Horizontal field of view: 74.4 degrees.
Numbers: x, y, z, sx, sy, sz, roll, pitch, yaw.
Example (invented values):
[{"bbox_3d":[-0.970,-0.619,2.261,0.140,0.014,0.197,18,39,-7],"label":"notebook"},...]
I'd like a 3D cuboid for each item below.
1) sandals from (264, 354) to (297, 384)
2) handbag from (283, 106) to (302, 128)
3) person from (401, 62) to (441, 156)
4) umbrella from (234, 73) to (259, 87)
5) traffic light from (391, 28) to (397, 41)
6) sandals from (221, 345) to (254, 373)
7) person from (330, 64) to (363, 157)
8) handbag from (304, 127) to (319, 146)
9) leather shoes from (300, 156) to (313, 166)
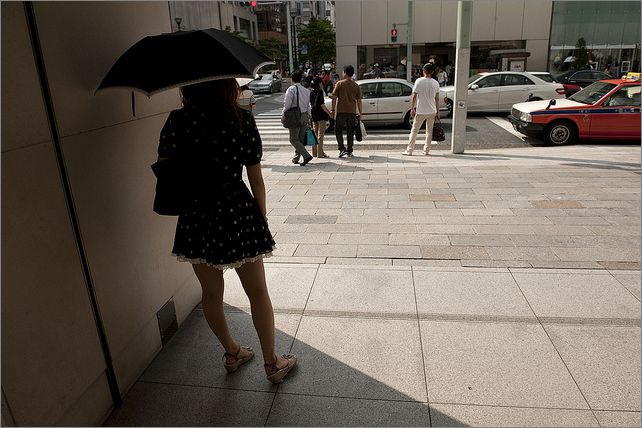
[{"bbox_3d":[-0.326,1.273,3.541,0.130,0.140,0.314,-4,16,23],"label":"sandals"},{"bbox_3d":[-0.648,-2.289,9.914,0.433,0.467,0.212,0,10,5],"label":"handbag"},{"bbox_3d":[2.734,-2.766,11.188,0.823,2.356,1.091,5,23,11],"label":"person"},{"bbox_3d":[-0.575,-1.027,3.240,0.148,0.099,0.169,-3,5,-2],"label":"umbrella"},{"bbox_3d":[4.736,-11.453,26.934,0.340,0.681,1.060,2,24,5],"label":"traffic light"},{"bbox_3d":[-0.716,1.255,3.700,0.121,0.142,0.316,4,15,22],"label":"sandals"},{"bbox_3d":[0.667,-2.629,10.896,0.711,2.313,0.729,0,23,1],"label":"person"},{"bbox_3d":[-0.210,-1.874,10.325,0.329,0.598,0.608,-2,8,0],"label":"handbag"},{"bbox_3d":[-0.348,-1.345,10.577,0.178,0.147,0.415,23,-34,-29],"label":"leather shoes"}]
